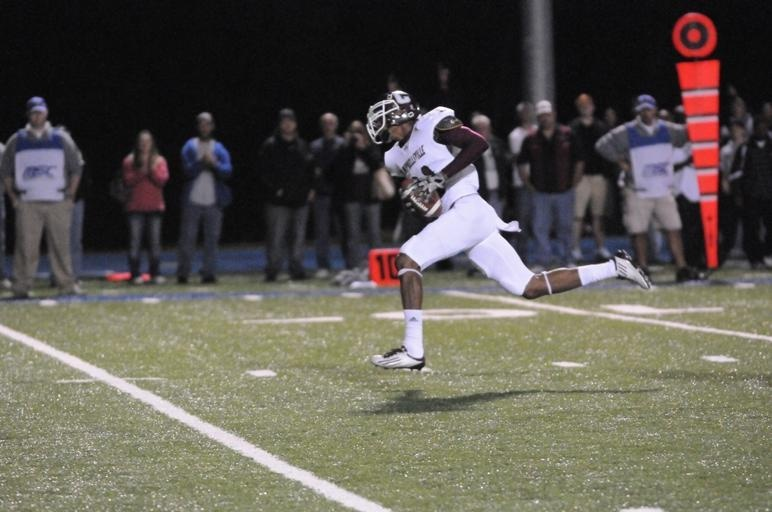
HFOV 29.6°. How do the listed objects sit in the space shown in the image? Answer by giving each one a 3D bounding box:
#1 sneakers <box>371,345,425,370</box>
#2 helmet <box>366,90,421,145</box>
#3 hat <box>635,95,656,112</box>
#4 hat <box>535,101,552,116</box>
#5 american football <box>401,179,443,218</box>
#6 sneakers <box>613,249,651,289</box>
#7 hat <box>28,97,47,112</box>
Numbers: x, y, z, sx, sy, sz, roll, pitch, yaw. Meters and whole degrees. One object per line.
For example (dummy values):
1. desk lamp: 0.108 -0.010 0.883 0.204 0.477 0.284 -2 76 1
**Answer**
1. sneakers: 0.117 1.049 14.939 0.588 0.261 0.216 7 -5 -5
2. helmet: 0.039 -1.447 15.393 0.623 0.477 0.454 -16 -7 -5
3. hat: 3.564 -2.077 19.899 0.271 0.192 0.259 -2 9 -30
4. hat: 2.360 -2.200 21.713 0.239 0.247 0.324 -4 4 36
5. american football: 0.394 -0.562 15.084 0.447 0.322 0.224 28 -24 -14
6. sneakers: 2.911 0.174 17.304 0.201 0.610 0.277 -50 14 -19
7. hat: -4.700 -2.030 19.615 0.255 0.221 1.193 -4 1 -13
